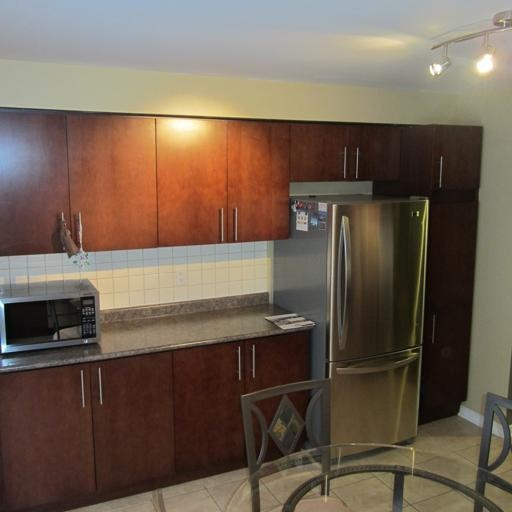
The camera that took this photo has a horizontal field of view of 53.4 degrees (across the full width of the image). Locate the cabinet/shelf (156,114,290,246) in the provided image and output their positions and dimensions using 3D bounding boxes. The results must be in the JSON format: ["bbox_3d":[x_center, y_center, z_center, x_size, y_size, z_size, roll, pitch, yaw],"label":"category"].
[{"bbox_3d":[-0.241,-0.505,3.229,0.705,0.693,0.282,-4,8,-25],"label":"cabinet/shelf"}]

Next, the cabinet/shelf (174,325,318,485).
[{"bbox_3d":[-0.110,0.873,2.994,0.792,0.805,0.312,-5,6,-30],"label":"cabinet/shelf"}]
